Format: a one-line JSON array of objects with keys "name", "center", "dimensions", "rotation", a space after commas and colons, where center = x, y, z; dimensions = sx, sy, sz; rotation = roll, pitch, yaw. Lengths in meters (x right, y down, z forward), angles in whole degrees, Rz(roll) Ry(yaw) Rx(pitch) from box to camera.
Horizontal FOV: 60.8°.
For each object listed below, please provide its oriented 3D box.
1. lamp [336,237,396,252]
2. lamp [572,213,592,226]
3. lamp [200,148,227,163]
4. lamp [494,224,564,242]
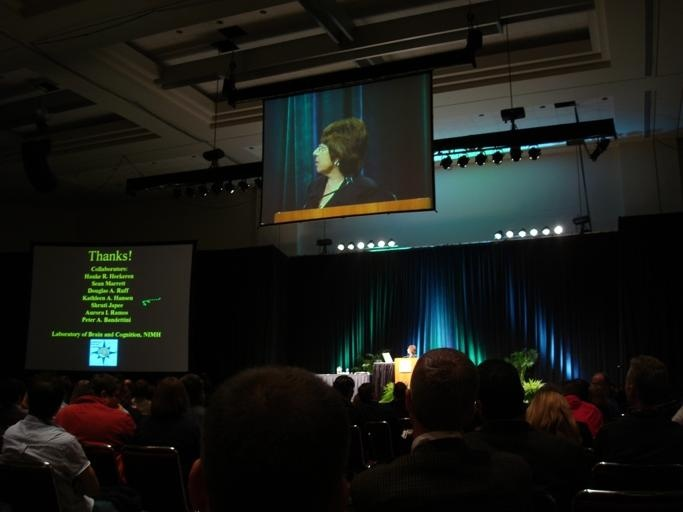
[{"name": "lamp", "center": [0.539, -0.217, 12.509], "dimensions": [1.341, 0.273, 0.245], "rotation": [-3, -10, 19]}, {"name": "lamp", "center": [4.353, -0.635, 10.423], "dimensions": [0.232, 0.096, 0.260], "rotation": [3, -1, -12]}, {"name": "lamp", "center": [-2.216, -1.754, 10.081], "dimensions": [0.546, 0.352, 0.183], "rotation": [0, -7, 40]}, {"name": "lamp", "center": [3.625, -0.446, 11.281], "dimensions": [1.348, 0.292, 0.287], "rotation": [-5, -10, 24]}]
